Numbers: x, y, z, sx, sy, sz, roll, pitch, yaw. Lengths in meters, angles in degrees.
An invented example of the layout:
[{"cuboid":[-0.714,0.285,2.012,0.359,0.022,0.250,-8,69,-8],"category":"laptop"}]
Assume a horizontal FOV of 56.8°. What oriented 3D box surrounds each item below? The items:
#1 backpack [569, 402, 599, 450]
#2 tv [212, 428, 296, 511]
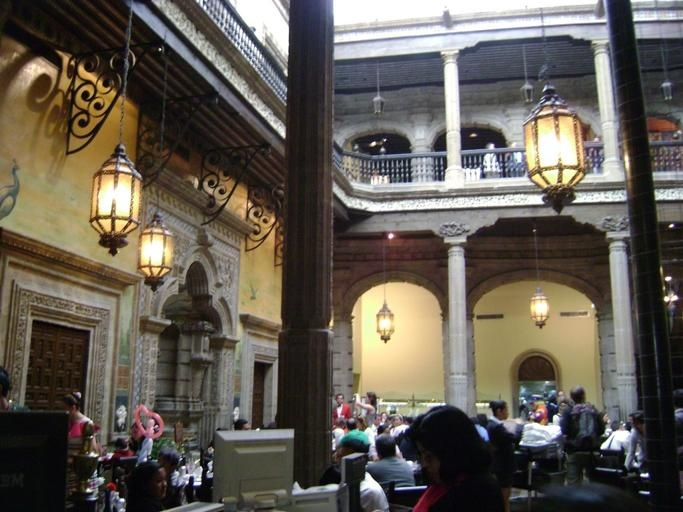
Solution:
[{"cuboid":[3.351,2.365,8.752,0.504,0.677,0.371,3,-26,4],"category":"backpack"},{"cuboid":[-0.517,1.261,3.706,0.443,0.431,0.163,6,-19,-23],"category":"tv"}]
